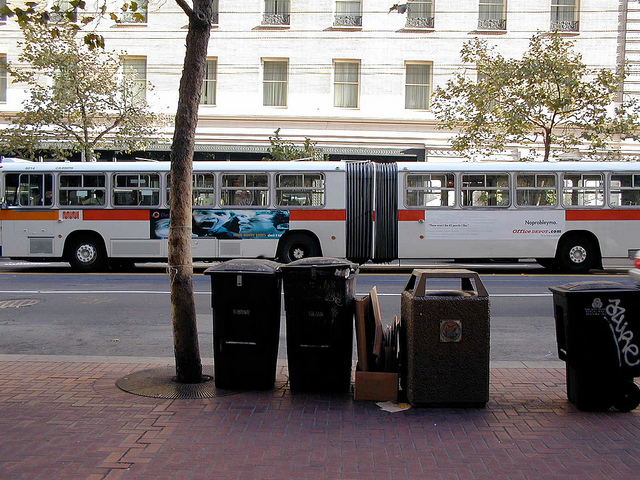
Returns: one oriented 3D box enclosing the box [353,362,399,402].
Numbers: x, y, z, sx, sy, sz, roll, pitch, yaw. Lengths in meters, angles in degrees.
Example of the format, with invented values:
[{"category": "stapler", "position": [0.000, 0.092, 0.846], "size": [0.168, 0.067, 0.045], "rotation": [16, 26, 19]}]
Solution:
[{"category": "box", "position": [0.847, 2.139, 12.308], "size": [0.738, 0.459, 0.393], "rotation": [0, 2, 5]}]
